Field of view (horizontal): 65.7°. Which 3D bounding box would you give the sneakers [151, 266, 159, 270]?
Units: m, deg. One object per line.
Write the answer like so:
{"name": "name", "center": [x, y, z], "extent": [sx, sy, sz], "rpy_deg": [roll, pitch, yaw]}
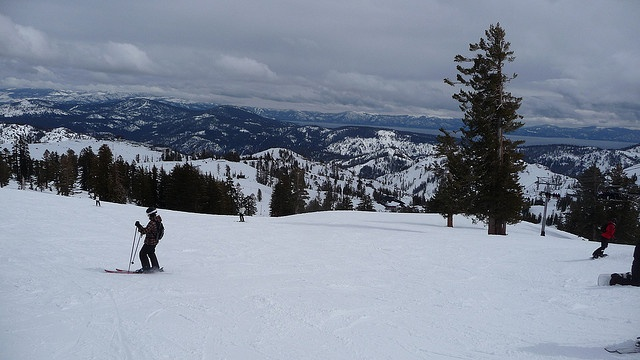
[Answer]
{"name": "sneakers", "center": [-12.761, 6.811, 38.282], "extent": [0.572, 0.268, 0.113], "rpy_deg": [3, 3, -5]}
